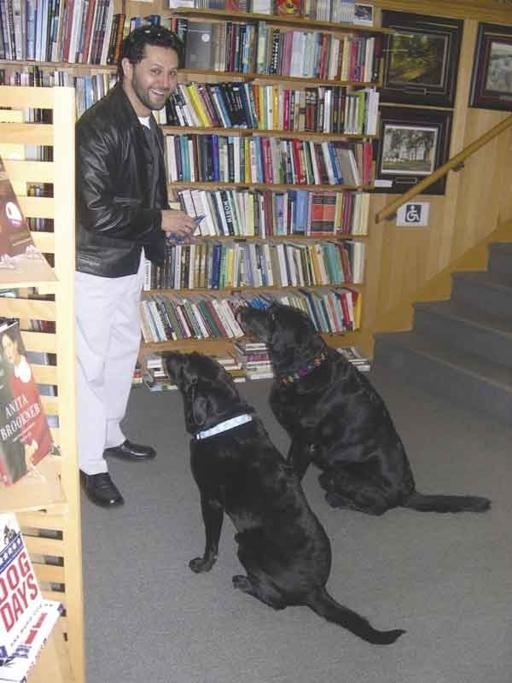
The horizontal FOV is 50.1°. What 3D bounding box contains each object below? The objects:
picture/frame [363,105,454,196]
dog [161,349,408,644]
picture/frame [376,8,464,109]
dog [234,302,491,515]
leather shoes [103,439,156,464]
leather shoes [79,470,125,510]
[{"bbox_3d":[1.092,-1.432,4.036,0.856,0.738,0.059,-2,19,-19],"label":"picture/frame"},{"bbox_3d":[0.097,0.549,1.876,0.986,0.542,0.269,39,28,23],"label":"dog"},{"bbox_3d":[1.177,-2.021,3.936,0.664,0.602,0.099,-10,26,-20],"label":"picture/frame"},{"bbox_3d":[0.409,0.292,2.199,1.083,0.721,0.382,13,29,27],"label":"dog"},{"bbox_3d":[-0.582,0.507,2.584,0.256,0.091,0.089,-3,10,-6],"label":"leather shoes"},{"bbox_3d":[-0.632,0.576,2.223,0.087,0.080,0.214,-6,25,-42],"label":"leather shoes"}]
